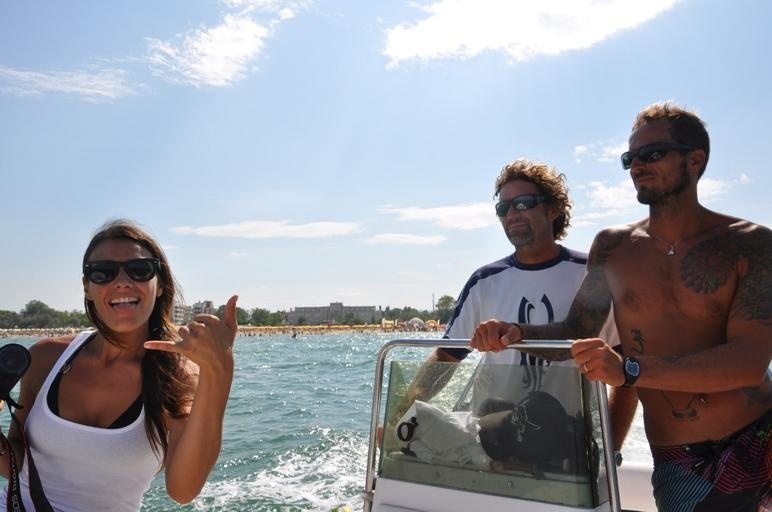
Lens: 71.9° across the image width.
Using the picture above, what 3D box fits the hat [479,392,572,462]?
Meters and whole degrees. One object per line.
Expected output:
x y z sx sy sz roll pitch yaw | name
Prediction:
0.816 0.993 3.124 0.515 0.318 0.258 2 2 12 | hat

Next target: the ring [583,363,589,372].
1.102 0.618 2.943 0.039 0.035 0.038 0 7 0 | ring
